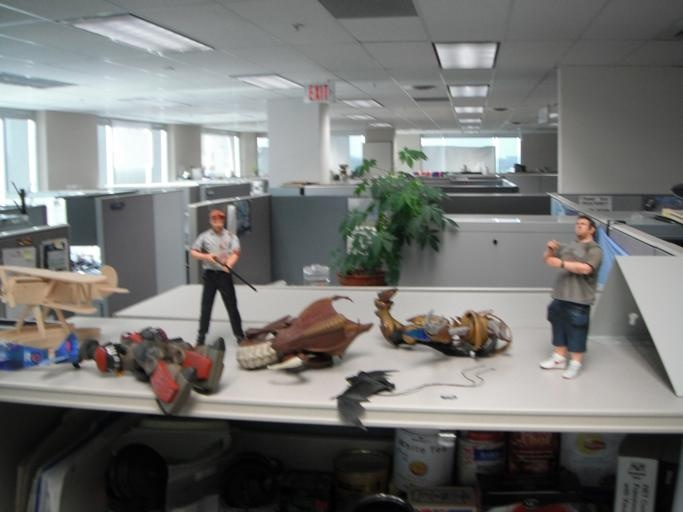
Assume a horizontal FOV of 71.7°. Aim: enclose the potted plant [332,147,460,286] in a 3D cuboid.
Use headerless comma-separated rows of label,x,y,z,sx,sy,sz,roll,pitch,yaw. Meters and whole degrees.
potted plant,0.277,-0.286,3.091,0.636,0.815,1.398,-1,14,-1
